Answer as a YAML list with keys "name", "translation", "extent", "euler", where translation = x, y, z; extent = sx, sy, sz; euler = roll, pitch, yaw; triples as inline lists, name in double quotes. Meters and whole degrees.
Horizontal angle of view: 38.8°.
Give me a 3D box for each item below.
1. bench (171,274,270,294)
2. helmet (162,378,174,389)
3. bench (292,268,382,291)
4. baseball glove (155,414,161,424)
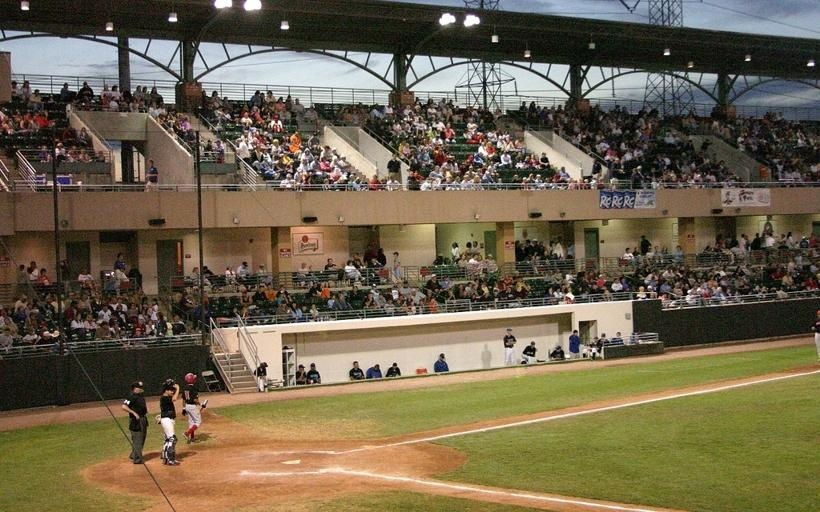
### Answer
- name: "bench"
  translation: [-10.387, 1.530, 63.514]
  extent: [5.140, 0.931, 1.863]
  euler: [-4, 0, -14]
- name: "helmet"
  translation: [-10.230, 5.419, 49.339]
  extent: [0.474, 0.397, 0.627]
  euler: [-4, 0, -12]
- name: "bench"
  translation: [-4.072, 1.317, 65.296]
  extent: [5.020, 1.043, 1.502]
  euler: [-4, 0, -27]
- name: "baseball glove"
  translation: [-10.548, 6.830, 48.859]
  extent: [0.182, 0.413, 0.672]
  euler: [-4, 0, -18]
